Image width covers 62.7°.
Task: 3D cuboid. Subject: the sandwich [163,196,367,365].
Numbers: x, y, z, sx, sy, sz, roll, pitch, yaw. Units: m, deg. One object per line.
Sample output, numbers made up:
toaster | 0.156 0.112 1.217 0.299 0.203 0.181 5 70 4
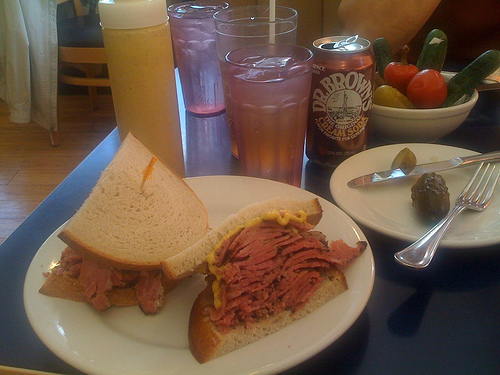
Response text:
sandwich | 0.035 0.137 0.727 0.344 0.152 0.174 -16 36 -22

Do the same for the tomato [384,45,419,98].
tomato | 0.436 -0.340 1.188 0.097 0.139 0.101 4 29 12

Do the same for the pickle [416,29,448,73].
pickle | 0.516 -0.391 1.193 0.086 0.144 0.054 1 26 5

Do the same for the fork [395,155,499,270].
fork | 0.403 0.057 0.842 0.048 0.045 0.297 14 49 40
